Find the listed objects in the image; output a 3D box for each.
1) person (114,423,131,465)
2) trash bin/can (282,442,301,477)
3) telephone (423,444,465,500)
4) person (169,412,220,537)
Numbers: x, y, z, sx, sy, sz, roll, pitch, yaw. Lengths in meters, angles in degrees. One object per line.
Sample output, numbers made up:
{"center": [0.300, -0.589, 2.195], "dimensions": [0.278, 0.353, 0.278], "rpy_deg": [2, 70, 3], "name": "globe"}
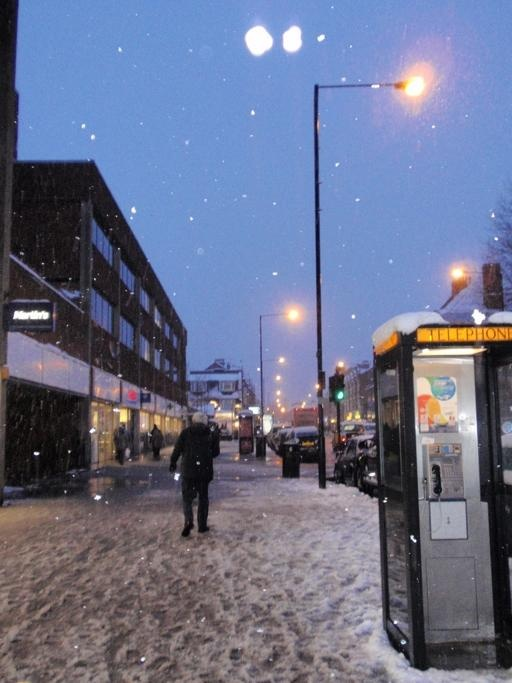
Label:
{"center": [-5.990, 4.615, 26.239], "dimensions": [0.561, 1.750, 3.962], "rpy_deg": [1, -14, -14], "name": "person"}
{"center": [1.129, 3.951, 19.523], "dimensions": [0.539, 1.128, 0.669], "rpy_deg": [-1, -9, 0], "name": "trash bin/can"}
{"center": [1.303, 0.789, 4.092], "dimensions": [0.238, 0.251, 0.549], "rpy_deg": [-3, -60, 20], "name": "telephone"}
{"center": [-0.876, 1.880, 8.424], "dimensions": [0.665, 1.744, 0.948], "rpy_deg": [0, -9, -6], "name": "person"}
